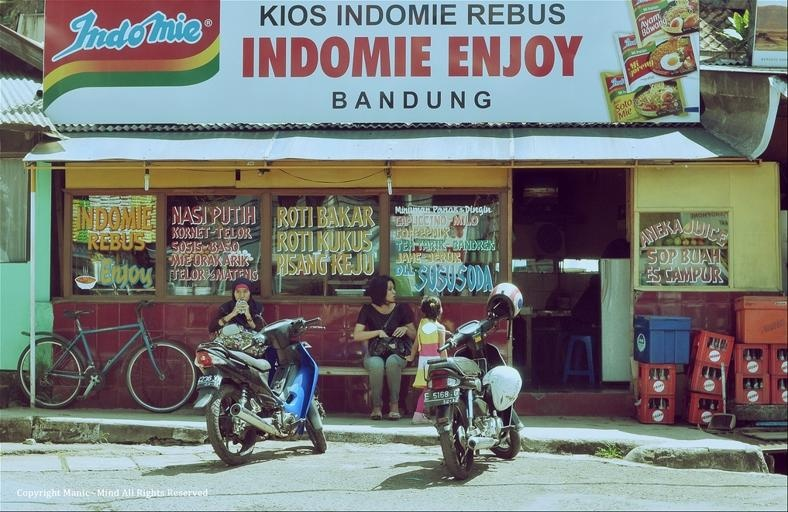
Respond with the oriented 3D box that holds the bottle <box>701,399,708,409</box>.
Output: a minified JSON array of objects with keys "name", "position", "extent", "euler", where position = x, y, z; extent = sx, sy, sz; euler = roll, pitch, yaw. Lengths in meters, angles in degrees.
[{"name":"bottle","position":[4.801,2.315,16.786],"extent":[0.131,0.130,0.060],"euler":[5,13,16]}]

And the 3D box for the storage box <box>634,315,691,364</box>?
[{"name":"storage box","position":[4.212,1.324,17.135],"extent":[0.745,0.730,0.745],"euler":[2,-3,-6]}]

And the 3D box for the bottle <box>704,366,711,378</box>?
[{"name":"bottle","position":[4.865,1.813,16.779],"extent":[0.096,0.137,0.051],"euler":[3,13,9]}]

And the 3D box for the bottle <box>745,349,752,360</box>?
[{"name":"bottle","position":[5.487,1.547,16.781],"extent":[0.110,0.160,0.040],"euler":[-2,-1,2]}]

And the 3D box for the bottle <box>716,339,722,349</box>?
[{"name":"bottle","position":[5.021,1.387,16.781],"extent":[0.094,0.129,0.032],"euler":[0,13,-6]}]

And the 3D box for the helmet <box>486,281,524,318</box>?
[{"name":"helmet","position":[1.543,0.672,15.352],"extent":[0.414,0.528,0.498],"euler":[25,2,7]}]

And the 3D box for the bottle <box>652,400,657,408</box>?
[{"name":"bottle","position":[4.027,2.313,16.826],"extent":[0.088,0.084,0.091],"euler":[4,0,6]}]

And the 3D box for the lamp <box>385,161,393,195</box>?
[{"name":"lamp","position":[-0.074,-1.209,17.022],"extent":[0.100,0.503,0.147],"euler":[-2,5,-5]}]

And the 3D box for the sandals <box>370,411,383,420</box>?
[{"name":"sandals","position":[-0.295,2.470,16.870],"extent":[0.180,0.150,0.235],"euler":[1,13,-1]}]

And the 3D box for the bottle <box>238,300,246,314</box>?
[{"name":"bottle","position":[-2.353,0.798,16.628],"extent":[0.131,0.206,0.103],"euler":[-1,13,-10]}]

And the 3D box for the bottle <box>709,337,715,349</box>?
[{"name":"bottle","position":[4.925,1.360,16.782],"extent":[0.101,0.177,0.041],"euler":[1,-6,12]}]

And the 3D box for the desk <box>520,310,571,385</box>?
[{"name":"desk","position":[2.646,1.583,19.357],"extent":[1.116,1.720,1.140],"euler":[1,2,9]}]

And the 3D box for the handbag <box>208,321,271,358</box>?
[{"name":"handbag","position":[-2.216,1.244,15.702],"extent":[0.750,0.272,0.451],"euler":[11,13,33]}]

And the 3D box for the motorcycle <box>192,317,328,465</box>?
[{"name":"motorcycle","position":[-1.907,1.979,15.186],"extent":[1.849,1.948,0.823],"euler":[-10,17,-39]}]

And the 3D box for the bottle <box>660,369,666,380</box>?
[{"name":"bottle","position":[4.179,1.857,16.853],"extent":[0.097,0.137,0.050],"euler":[1,13,2]}]

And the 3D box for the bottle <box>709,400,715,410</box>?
[{"name":"bottle","position":[4.956,2.337,16.818],"extent":[0.120,0.124,0.045],"euler":[1,-14,7]}]

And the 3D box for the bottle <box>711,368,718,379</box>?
[{"name":"bottle","position":[4.981,1.853,16.802],"extent":[0.076,0.174,0.057],"euler":[4,4,6]}]

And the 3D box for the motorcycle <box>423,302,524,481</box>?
[{"name":"motorcycle","position":[1.059,1.958,14.797],"extent":[1.386,2.021,0.834],"euler":[-10,17,-41]}]

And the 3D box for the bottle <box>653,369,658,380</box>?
[{"name":"bottle","position":[4.051,1.856,16.846],"extent":[0.084,0.139,0.042],"euler":[1,13,1]}]

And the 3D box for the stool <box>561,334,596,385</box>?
[{"name":"stool","position":[3.220,1.784,18.480],"extent":[0.706,0.986,0.716],"euler":[-1,-4,7]}]
